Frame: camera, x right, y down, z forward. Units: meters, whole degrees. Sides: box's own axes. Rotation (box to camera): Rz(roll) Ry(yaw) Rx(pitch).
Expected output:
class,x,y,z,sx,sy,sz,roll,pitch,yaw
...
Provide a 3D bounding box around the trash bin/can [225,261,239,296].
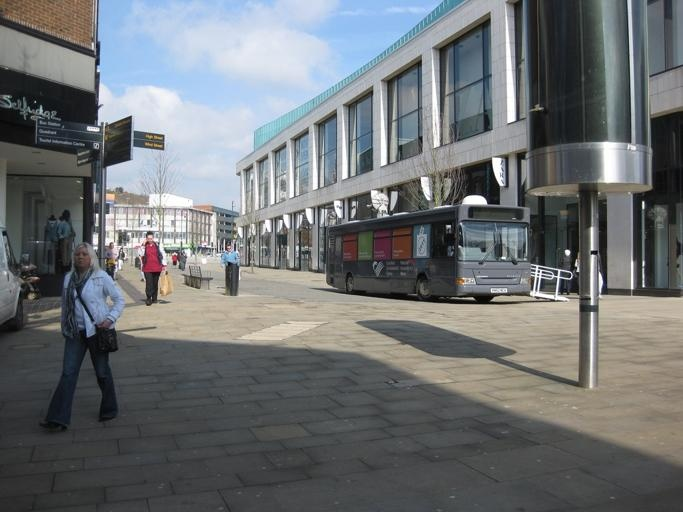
class,x,y,z,sx,sy,sz,roll,pitch,yaw
trash bin/can,-4.046,0.852,21.808,0.431,1.146,0.904,-1,3,-15

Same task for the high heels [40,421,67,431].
class,x,y,z,sx,sy,sz,roll,pitch,yaw
high heels,-3.092,1.816,6.302,0.292,0.119,0.096,0,3,4

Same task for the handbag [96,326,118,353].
class,x,y,z,sx,sy,sz,roll,pitch,yaw
handbag,-2.633,0.936,6.578,0.157,0.329,0.268,-13,-10,37

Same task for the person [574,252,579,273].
class,x,y,z,sx,sy,sz,roll,pitch,yaw
person,9.120,0.362,22.902,0.182,0.516,0.883,1,3,15

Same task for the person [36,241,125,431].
class,x,y,z,sx,sy,sz,roll,pitch,yaw
person,-2.885,0.864,6.624,0.819,1.984,0.618,-2,3,-31
